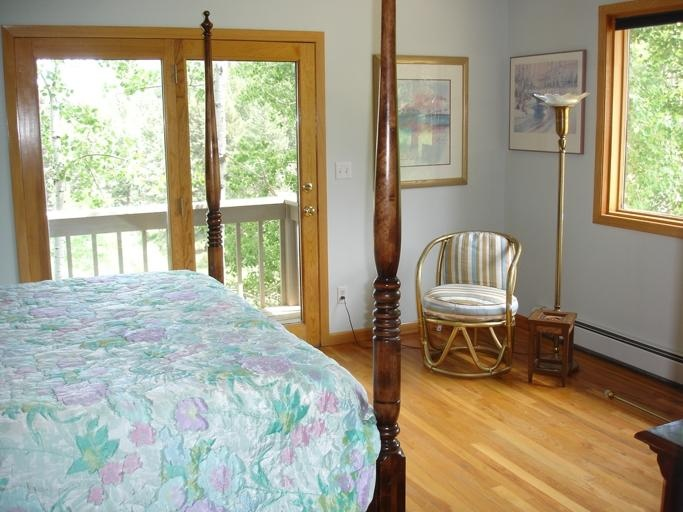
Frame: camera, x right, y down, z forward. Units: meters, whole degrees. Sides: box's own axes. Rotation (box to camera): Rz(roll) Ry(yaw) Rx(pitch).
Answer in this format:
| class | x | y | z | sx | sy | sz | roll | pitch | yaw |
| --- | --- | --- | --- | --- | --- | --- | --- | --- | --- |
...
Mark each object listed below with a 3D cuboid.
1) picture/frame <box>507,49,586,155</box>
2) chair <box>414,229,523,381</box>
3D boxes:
| class | x | y | z | sx | sy | sz | roll | pitch | yaw |
| --- | --- | --- | --- | --- | --- | --- | --- | --- | --- |
| picture/frame | 1.662 | -1.241 | 4.296 | 0.036 | 1.042 | 0.958 | -5 | 8 | -22 |
| chair | 0.983 | 0.321 | 4.042 | 0.697 | 1.003 | 0.790 | 4 | 7 | 33 |
